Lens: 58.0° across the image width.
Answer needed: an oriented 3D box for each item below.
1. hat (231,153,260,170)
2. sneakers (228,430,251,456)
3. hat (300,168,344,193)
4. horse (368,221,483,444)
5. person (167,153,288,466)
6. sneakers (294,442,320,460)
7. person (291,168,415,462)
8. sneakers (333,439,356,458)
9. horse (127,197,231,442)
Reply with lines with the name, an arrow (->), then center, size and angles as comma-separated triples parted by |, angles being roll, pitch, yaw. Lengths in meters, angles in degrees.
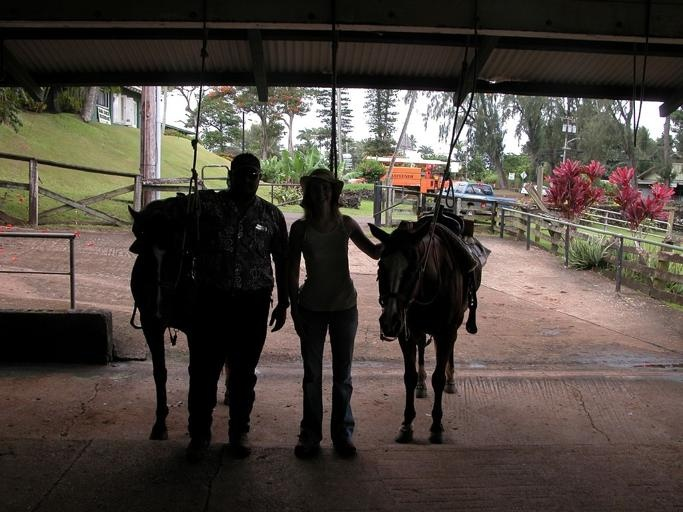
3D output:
hat -> -0.777, -0.784, 5.063 | 0.215, 0.141, 0.293 | 0, 9, -3
sneakers -> -0.812, 1.521, 4.944 | 0.182, 0.197, 0.179 | -4, -3, 28
hat -> -0.168, -0.638, 5.221 | 0.354, 0.203, 0.250 | 0, 9, -5
horse -> 0.871, 0.732, 6.382 | 0.823, 2.050, 3.074 | 0, 0, 18
person -> -0.877, 0.386, 4.983 | 0.746, 2.385, 0.525 | -2, 8, -15
sneakers -> -0.273, 1.584, 5.019 | 0.213, 0.118, 0.150 | -1, 9, -8
person -> -0.073, 0.498, 5.241 | 0.742, 2.451, 0.824 | 0, 8, -2
sneakers -> 0.030, 1.585, 5.089 | 0.205, 0.126, 0.155 | 2, 9, 6
horse -> -1.686, 0.523, 6.400 | 1.025, 2.085, 3.220 | -5, 4, -13
